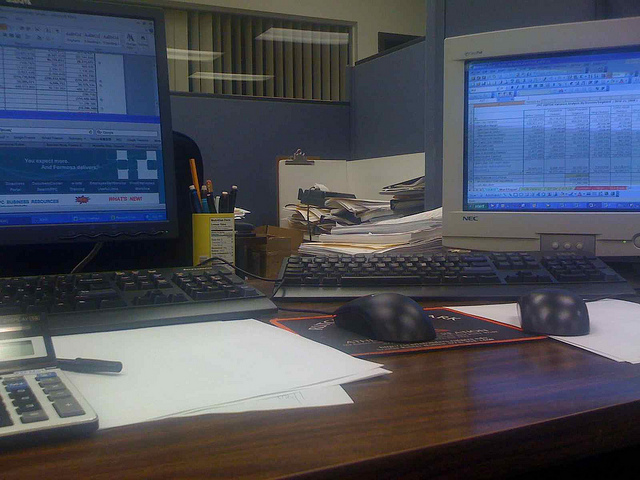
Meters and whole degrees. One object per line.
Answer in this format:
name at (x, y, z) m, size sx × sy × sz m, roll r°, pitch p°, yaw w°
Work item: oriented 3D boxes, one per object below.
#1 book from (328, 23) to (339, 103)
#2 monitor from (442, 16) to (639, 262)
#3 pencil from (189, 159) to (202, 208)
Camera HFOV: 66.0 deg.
book at (0.131, -1.828, 5.088) m, size 0.110 × 0.712 × 0.249 m, roll 1°, pitch 9°, yaw 4°
monitor at (0.424, -0.187, 0.931) m, size 0.489 × 0.459 × 0.274 m, roll 1°, pitch 2°, yaw 13°
pencil at (-0.244, -0.107, 0.958) m, size 0.012 × 0.106 × 0.012 m, roll -17°, pitch -5°, yaw 16°
